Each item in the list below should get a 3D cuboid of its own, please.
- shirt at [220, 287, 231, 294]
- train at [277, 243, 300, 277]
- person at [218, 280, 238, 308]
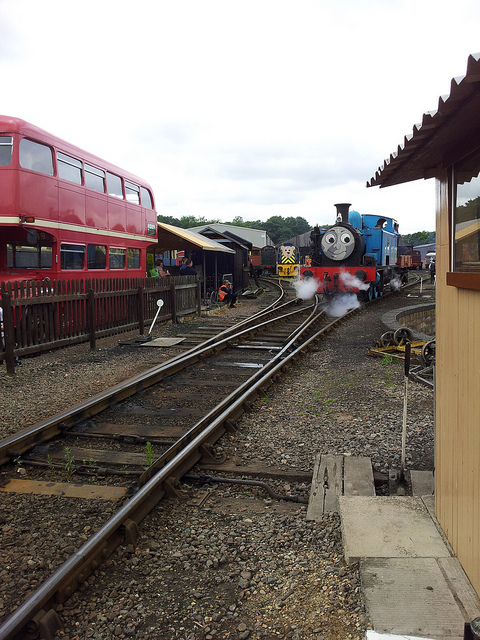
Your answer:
[{"bbox_3d":[-0.599,-1.298,20.357,0.300,0.290,0.799,4,7,26],"label":"shirt"},{"bbox_3d":[4.751,-5.808,45.052,1.651,3.241,2.930,-4,8,-30],"label":"train"},{"bbox_3d":[-0.550,-1.177,20.759,0.750,1.051,2.009,0,7,-3],"label":"person"}]
